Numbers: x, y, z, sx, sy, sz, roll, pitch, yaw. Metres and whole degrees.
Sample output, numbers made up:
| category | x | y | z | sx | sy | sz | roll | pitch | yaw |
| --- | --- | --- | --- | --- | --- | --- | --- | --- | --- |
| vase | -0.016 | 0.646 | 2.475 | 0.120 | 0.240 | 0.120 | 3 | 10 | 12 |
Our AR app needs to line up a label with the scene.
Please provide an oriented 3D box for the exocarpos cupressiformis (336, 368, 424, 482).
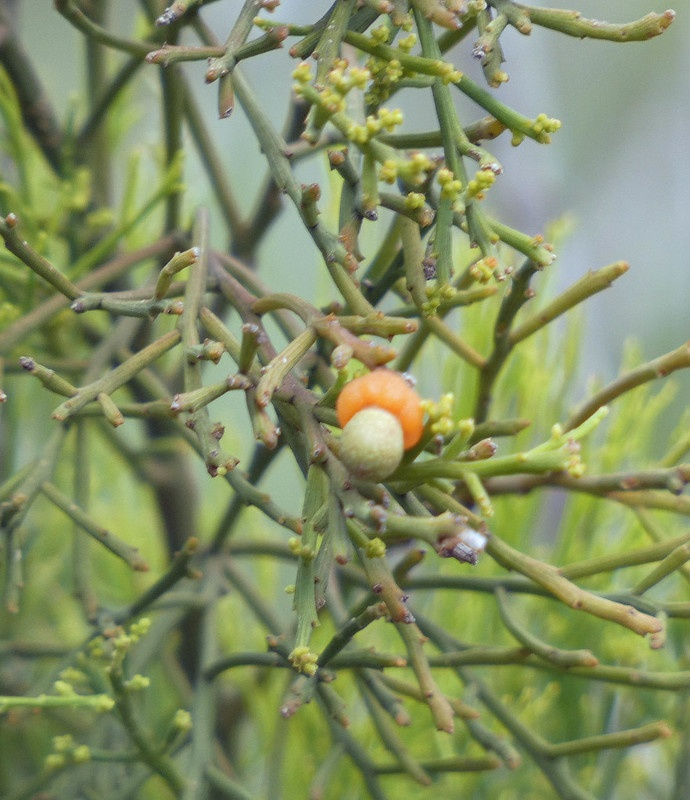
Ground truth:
| category | x | y | z | sx | sy | sz | roll | pitch | yaw |
| --- | --- | --- | --- | --- | --- | --- | --- | --- | --- |
| exocarpos cupressiformis | 0.016 | 0.010 | 0.561 | 0.039 | 0.046 | 0.027 | 9 | -20 | 6 |
